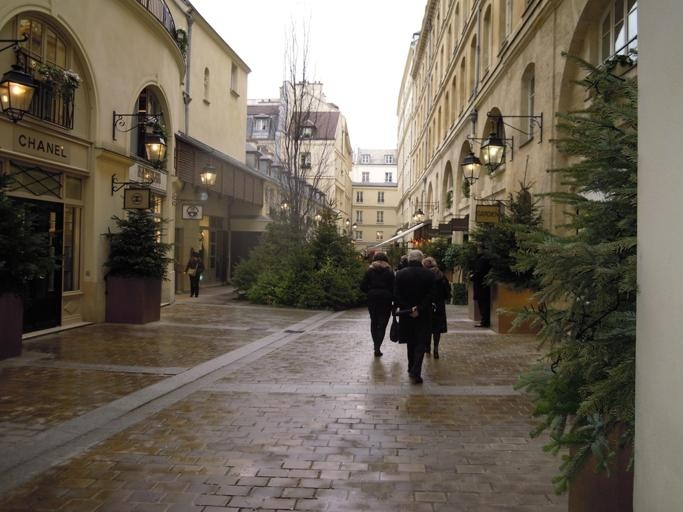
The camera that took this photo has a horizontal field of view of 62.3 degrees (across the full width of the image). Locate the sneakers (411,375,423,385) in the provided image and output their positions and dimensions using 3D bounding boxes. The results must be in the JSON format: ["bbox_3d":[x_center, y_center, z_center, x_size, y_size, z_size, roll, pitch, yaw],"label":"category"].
[{"bbox_3d":[1.097,1.734,8.088,0.164,0.121,0.254,1,3,6],"label":"sneakers"}]

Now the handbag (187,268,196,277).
[{"bbox_3d":[-5.694,0.583,21.389,0.273,0.287,0.073,-2,-18,24],"label":"handbag"}]

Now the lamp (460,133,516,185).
[{"bbox_3d":[3.968,-3.050,15.407,1.486,1.687,0.549,-16,25,-5],"label":"lamp"}]

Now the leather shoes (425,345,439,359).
[{"bbox_3d":[1.591,1.683,9.946,0.207,0.292,0.664,-1,-10,1],"label":"leather shoes"}]

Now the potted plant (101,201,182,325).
[{"bbox_3d":[-4.881,0.232,13.405,1.435,2.709,0.867,-1,3,-24],"label":"potted plant"}]
